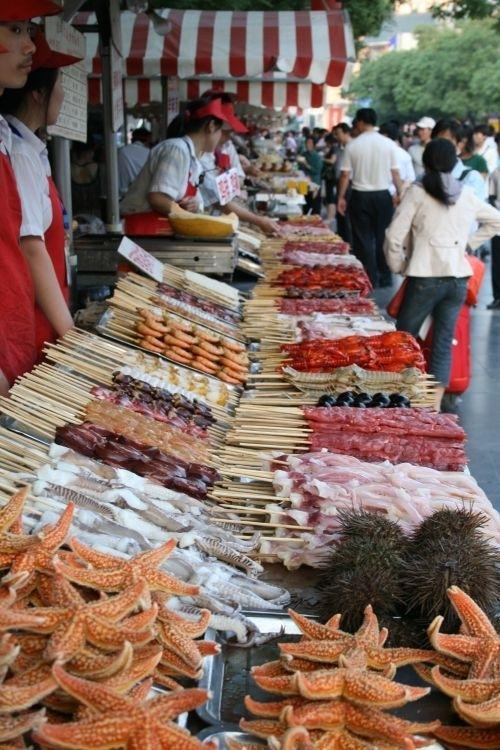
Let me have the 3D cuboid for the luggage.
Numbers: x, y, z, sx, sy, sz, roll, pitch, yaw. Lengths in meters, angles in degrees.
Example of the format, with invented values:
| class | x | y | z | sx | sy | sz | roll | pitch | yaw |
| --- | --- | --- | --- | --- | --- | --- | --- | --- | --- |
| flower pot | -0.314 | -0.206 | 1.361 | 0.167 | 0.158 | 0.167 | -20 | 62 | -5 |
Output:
| class | x | y | z | sx | sy | sz | roll | pitch | yaw |
| --- | --- | --- | --- | --- | --- | --- | --- | --- | --- |
| luggage | 1.413 | -0.192 | 4.641 | 0.315 | 0.791 | 0.542 | 3 | 30 | 10 |

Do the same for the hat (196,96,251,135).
| class | x | y | z | sx | sy | sz | roll | pitch | yaw |
| --- | --- | --- | --- | --- | --- | --- | --- | --- | --- |
| hat | -0.189 | -1.733 | 4.213 | 0.219 | 0.194 | 0.263 | 15 | 22 | 34 |
